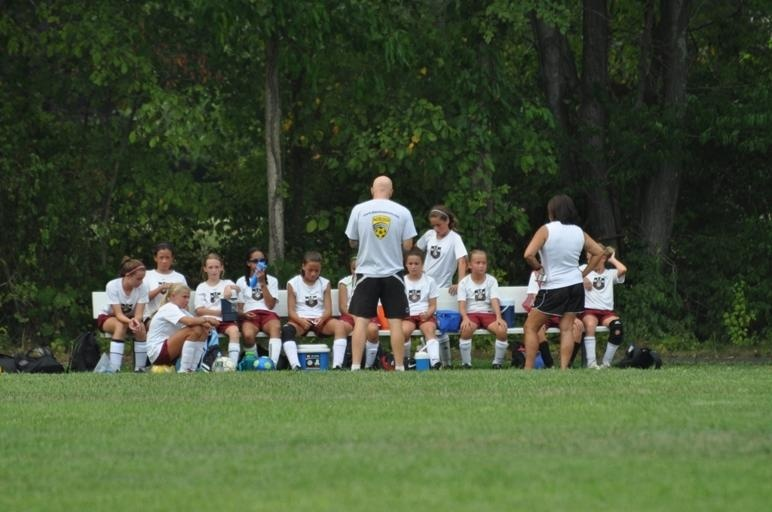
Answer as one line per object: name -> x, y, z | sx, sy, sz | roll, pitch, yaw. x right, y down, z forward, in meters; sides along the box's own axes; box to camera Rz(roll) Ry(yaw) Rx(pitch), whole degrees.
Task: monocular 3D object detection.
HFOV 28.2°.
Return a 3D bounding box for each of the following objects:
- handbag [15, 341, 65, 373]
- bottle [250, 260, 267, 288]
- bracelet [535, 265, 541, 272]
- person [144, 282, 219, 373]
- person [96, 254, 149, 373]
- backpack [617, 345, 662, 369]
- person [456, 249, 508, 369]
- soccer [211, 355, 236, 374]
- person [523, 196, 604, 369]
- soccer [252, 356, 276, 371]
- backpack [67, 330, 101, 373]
handbag -> -5.705, 1.658, 25.143 | 0.767, 0.306, 0.515 | 0, 5, 3
bottle -> -2.157, 0.282, 25.727 | 0.196, 0.440, 0.453 | 4, -10, -18
bracelet -> 2.426, 0.190, 24.408 | 0.081, 0.081, 0.081 | 1, -39, 3
person -> -3.372, 1.150, 25.022 | 1.072, 1.390, 0.340 | -2, -10, 17
person -> -4.358, 0.979, 25.404 | 0.774, 1.871, 0.570 | 2, -9, -3
backpack -> 4.240, 1.667, 25.404 | 0.551, 0.368, 0.392 | 5, -6, -41
person -> 1.610, 0.895, 25.676 | 0.841, 1.967, 0.640 | 1, -9, 3
soccer -> -2.629, 1.746, 24.842 | 0.381, 0.283, 0.450 | 2, -10, -7
person -> 2.790, 0.422, 24.580 | 1.132, 2.727, 0.892 | 0, -9, 5
soccer -> -2.016, 1.755, 25.096 | 0.235, 0.235, 0.234 | 12, 27, 0
backpack -> -5.110, 1.628, 25.923 | 0.344, 0.620, 0.485 | 28, 0, 22
